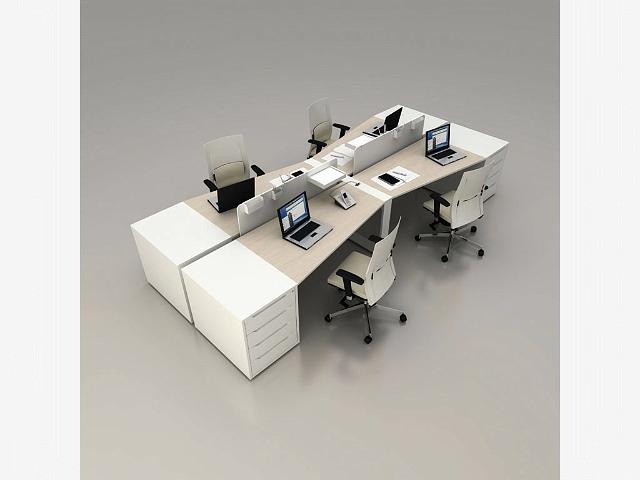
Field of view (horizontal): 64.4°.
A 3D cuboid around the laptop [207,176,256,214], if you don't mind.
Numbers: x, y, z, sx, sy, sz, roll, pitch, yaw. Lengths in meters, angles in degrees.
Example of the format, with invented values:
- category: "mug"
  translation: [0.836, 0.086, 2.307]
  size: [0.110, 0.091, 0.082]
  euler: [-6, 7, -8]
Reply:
- category: "laptop"
  translation: [-0.818, -0.454, 4.681]
  size: [0.425, 0.311, 0.298]
  euler: [-28, 45, -35]

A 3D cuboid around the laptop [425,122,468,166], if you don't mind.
- category: "laptop"
  translation: [1.393, -1.031, 5.594]
  size: [0.390, 0.344, 0.306]
  euler: [-32, 52, -32]

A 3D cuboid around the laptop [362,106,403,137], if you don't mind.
- category: "laptop"
  translation: [0.689, -1.273, 5.584]
  size: [0.333, 0.294, 0.399]
  euler: [26, 46, 32]

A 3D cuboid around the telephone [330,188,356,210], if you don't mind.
- category: "telephone"
  translation: [0.212, -0.395, 4.882]
  size: [0.262, 0.128, 0.185]
  euler: [16, 31, 37]
